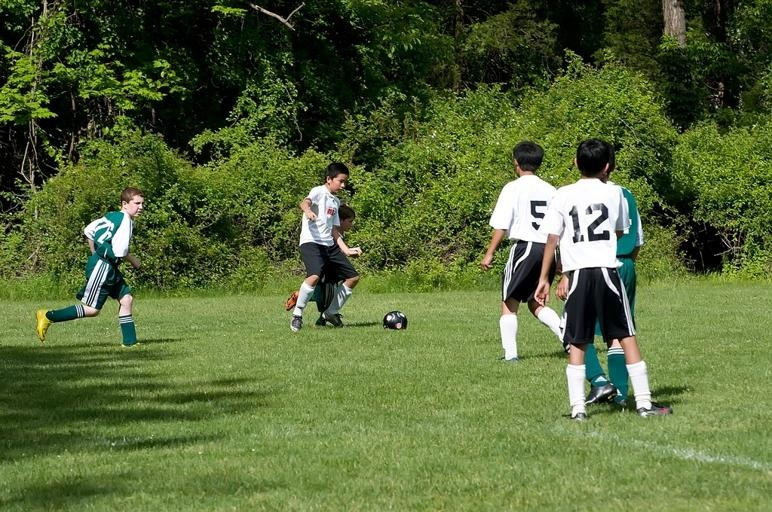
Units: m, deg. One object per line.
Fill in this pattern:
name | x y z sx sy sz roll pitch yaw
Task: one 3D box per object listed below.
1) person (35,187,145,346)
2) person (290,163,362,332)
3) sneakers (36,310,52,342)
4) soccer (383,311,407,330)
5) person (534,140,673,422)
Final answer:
person | -4.307 0.187 14.016 1.342 2.372 0.796 1 11 9
person | -0.986 -0.092 15.124 1.106 2.749 0.734 -7 13 -33
sneakers | -5.249 1.088 14.247 0.240 0.491 0.174 -1 -1 7
soccer | 0.200 1.046 15.243 0.283 0.309 0.308 13 27 -5
person | 2.279 0.201 9.669 1.421 2.771 0.806 5 12 24
